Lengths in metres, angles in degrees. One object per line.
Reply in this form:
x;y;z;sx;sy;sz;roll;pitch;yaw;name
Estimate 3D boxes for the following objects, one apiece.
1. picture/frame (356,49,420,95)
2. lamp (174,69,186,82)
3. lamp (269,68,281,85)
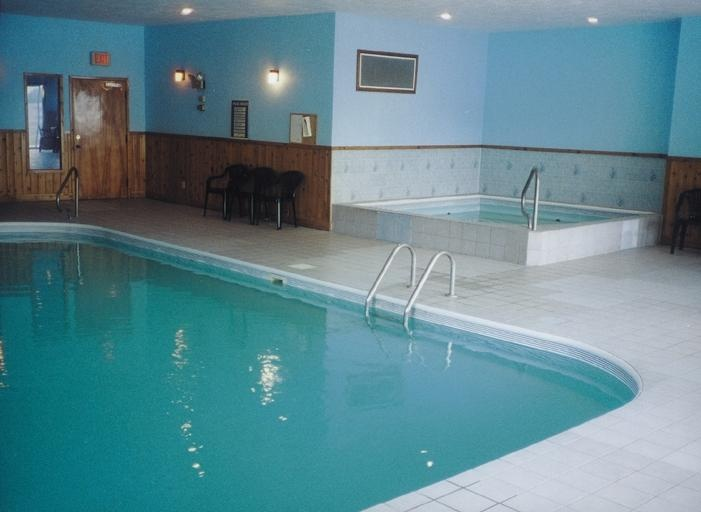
0.797;-3.868;10.064;1.625;0.872;0.074;-6;11;-35;picture/frame
-4.246;-4.530;11.945;0.340;0.329;0.161;3;4;25;lamp
-1.647;-3.851;10.250;0.345;0.331;0.106;9;12;40;lamp
